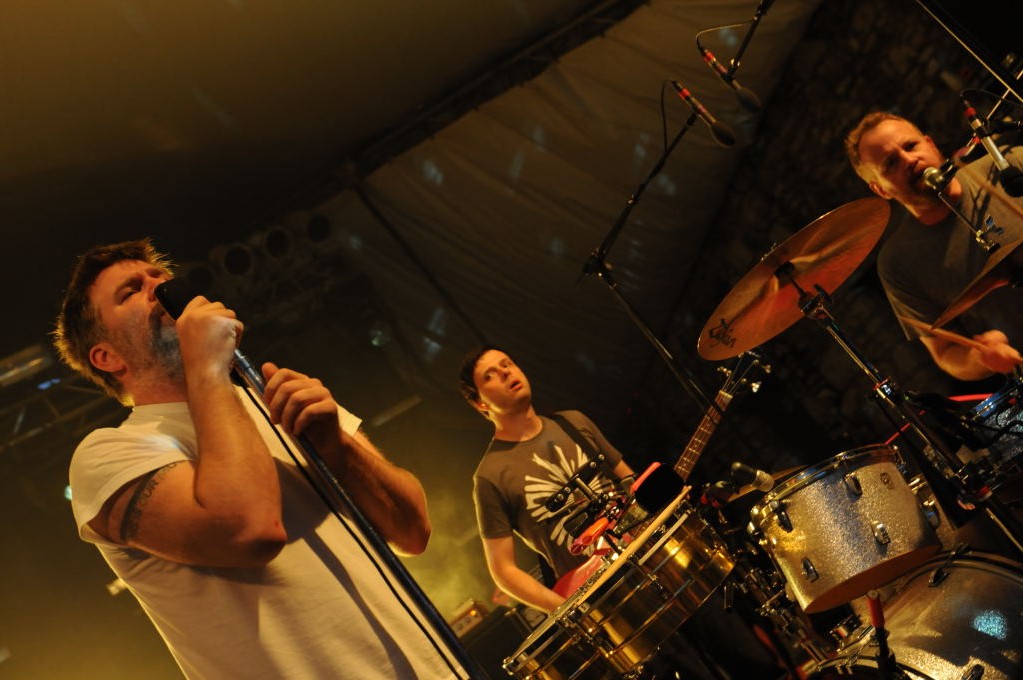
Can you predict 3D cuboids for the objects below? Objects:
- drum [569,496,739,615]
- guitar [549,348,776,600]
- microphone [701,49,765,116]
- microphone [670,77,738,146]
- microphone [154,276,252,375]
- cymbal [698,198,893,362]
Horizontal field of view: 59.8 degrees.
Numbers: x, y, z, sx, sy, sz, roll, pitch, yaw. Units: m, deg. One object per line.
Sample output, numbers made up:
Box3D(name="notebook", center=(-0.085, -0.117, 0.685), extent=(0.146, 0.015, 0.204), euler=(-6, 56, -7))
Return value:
Box3D(name="drum", center=(0.626, 1.111, 4.151), extent=(0.536, 0.255, 0.657), euler=(-37, -3, -39))
Box3D(name="guitar", center=(0.811, 0.490, 4.390), extent=(1.702, 0.239, 0.763), euler=(-49, 8, -20))
Box3D(name="microphone", center=(1.309, -1.552, 5.269), extent=(0.131, 0.581, 0.143), euler=(-41, 1, 41))
Box3D(name="microphone", center=(1.139, -1.386, 5.293), extent=(0.167, 0.617, 0.159), euler=(-48, -10, 20))
Box3D(name="microphone", center=(-1.140, -0.009, 3.368), extent=(0.237, 0.470, 0.109), euler=(-37, -5, -13))
Box3D(name="cymbal", center=(1.526, -0.303, 4.633), extent=(1.081, 0.273, 1.079), euler=(-34, 21, 48))
